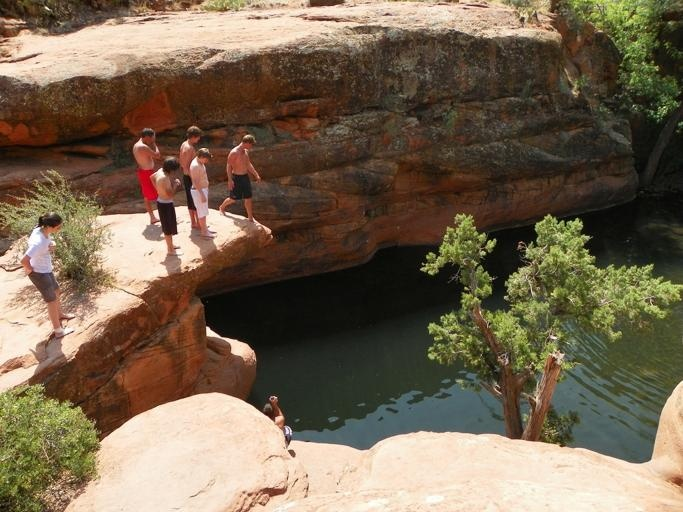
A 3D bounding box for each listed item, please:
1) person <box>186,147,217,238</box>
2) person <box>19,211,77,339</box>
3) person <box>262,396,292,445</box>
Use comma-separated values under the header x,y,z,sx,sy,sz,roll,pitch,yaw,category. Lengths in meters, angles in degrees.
x,y,z,sx,sy,sz,roll,pitch,yaw,category
-3.427,-1.490,14.083,0.829,2.860,1.040,-6,53,-19,person
-5.976,0.462,11.815,0.894,2.549,1.003,-10,50,-35,person
-1.451,3.705,12.976,0.438,0.706,1.328,-25,35,10,person
